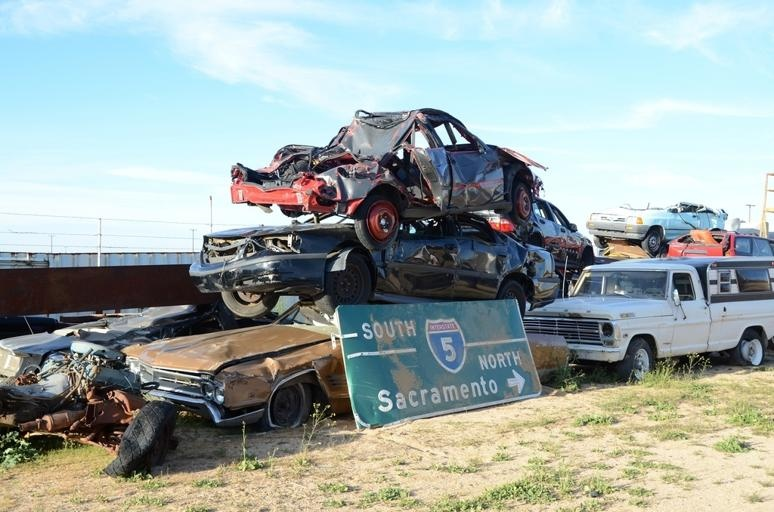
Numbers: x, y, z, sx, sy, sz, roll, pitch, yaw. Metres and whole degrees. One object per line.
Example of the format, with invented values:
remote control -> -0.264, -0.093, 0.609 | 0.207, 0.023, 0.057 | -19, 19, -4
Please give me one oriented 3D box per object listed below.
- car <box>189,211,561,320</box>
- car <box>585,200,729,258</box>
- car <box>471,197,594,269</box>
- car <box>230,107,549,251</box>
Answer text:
car -> 0.721, 0.054, 12.670 | 5.699, 1.427, 2.442 | 6, 2, -20
car -> 8.964, -0.746, 22.108 | 4.335, 1.178, 1.913 | -6, 7, -30
car -> 4.202, -0.608, 19.091 | 2.120, 1.685, 5.415 | 2, -4, 39
car -> 0.363, -1.411, 12.155 | 5.191, 1.571, 2.942 | -2, 5, -37
